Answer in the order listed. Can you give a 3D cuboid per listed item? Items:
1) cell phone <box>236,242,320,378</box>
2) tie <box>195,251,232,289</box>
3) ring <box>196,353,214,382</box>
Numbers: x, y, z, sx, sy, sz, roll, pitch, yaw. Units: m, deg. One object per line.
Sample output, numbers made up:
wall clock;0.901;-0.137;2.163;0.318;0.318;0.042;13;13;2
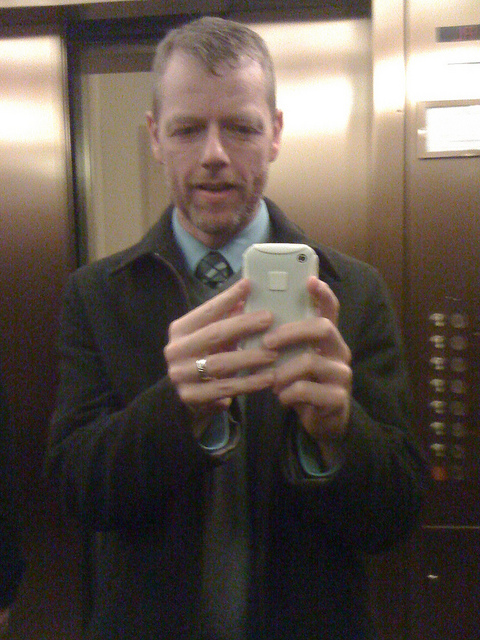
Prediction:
cell phone;0.063;-0.002;1.034;0.118;0.036;0.287;1;55;6
tie;-0.056;-0.108;1.315;0.063;0.075;0.019;-18;20;5
ring;-0.061;0.081;1.052;0.023;0.049;0.041;-5;9;16
